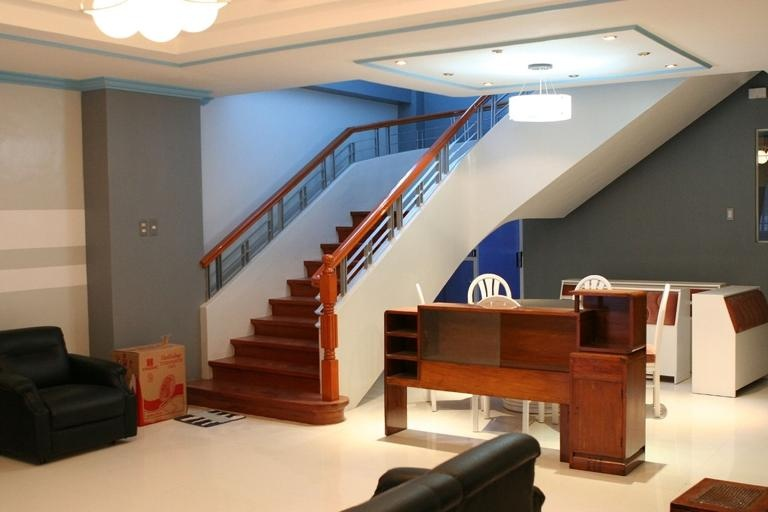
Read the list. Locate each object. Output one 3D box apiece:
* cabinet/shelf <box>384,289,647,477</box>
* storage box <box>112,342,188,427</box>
[{"bbox_3d":[1.281,1.221,5.525,1.770,1.017,0.501,-2,-3,33],"label":"cabinet/shelf"},{"bbox_3d":[-2.717,1.502,6.649,0.573,1.060,0.898,3,5,36],"label":"storage box"}]
